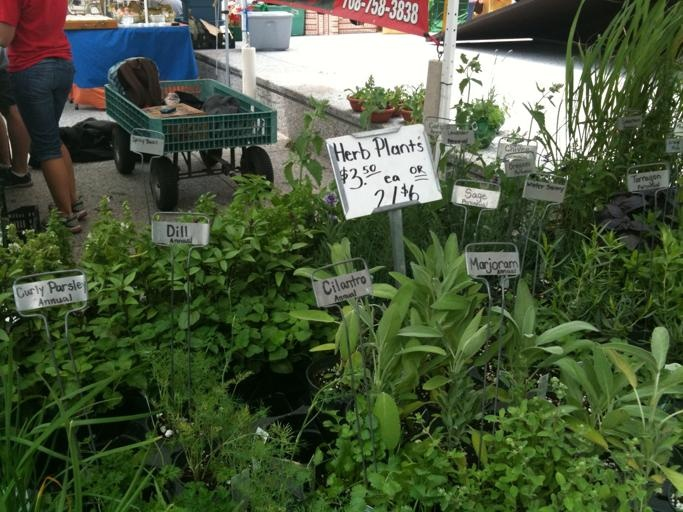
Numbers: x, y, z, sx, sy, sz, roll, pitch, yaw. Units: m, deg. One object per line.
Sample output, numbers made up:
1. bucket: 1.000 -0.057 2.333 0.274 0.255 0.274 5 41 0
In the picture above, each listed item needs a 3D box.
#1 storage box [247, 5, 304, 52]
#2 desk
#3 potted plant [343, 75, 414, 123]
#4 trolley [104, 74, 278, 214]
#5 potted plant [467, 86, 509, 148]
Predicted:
1. storage box: -1.477 -4.720 11.022 0.883 0.831 0.749 -3 11 -14
2. desk: -2.750 -2.621 6.799 1.253 0.675 1.308 -7 29 -15
3. potted plant: 0.385 -1.535 5.168 0.606 0.480 0.974 0 12 -1
4. trolley: -1.440 -1.255 4.785 1.119 0.851 1.891 -15 37 -28
5. potted plant: 1.144 -1.100 4.208 0.289 0.403 0.292 2 18 24
